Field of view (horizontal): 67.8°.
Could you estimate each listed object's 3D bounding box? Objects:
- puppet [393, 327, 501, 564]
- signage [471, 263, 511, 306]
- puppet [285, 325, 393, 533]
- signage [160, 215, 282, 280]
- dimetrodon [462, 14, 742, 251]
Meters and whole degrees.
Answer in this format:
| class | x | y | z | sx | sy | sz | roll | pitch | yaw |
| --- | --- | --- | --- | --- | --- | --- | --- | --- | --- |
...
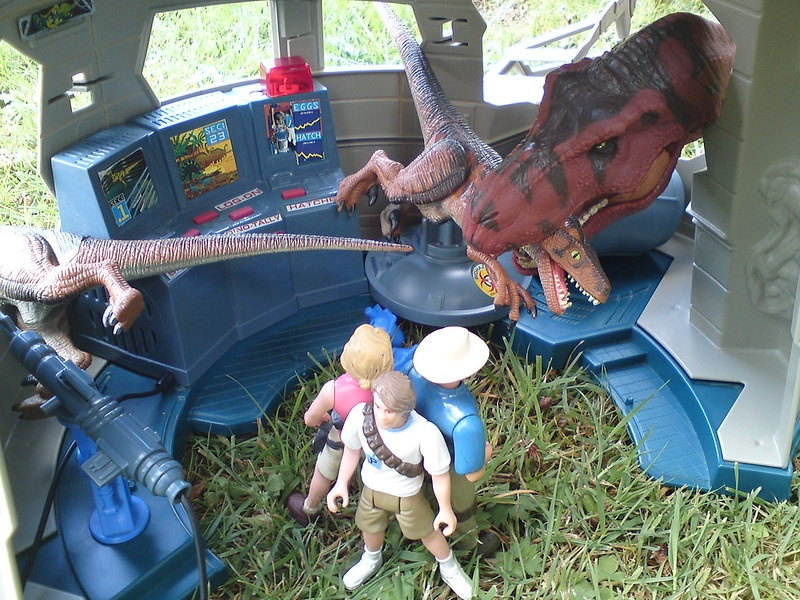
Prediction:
| class | x | y | z | sx | sy | sz | roll | pitch | yaw |
| --- | --- | --- | --- | --- | --- | --- | --- | --- | --- |
| puppet | 0.166 | 0.563 | 2.148 | 0.307 | 0.884 | 0.408 | -28 | 46 | -18 |
| signage | 0.452 | -0.095 | 2.970 | 0.048 | 0.187 | 0.130 | -37 | 7 | -38 |
| puppet | -0.208 | 0.505 | 2.348 | 0.330 | 0.948 | 0.217 | -11 | 40 | -36 |
| signage | -0.839 | -0.253 | 2.728 | 0.355 | 0.086 | 0.047 | -28 | 51 | -24 |
| dimetrodon | 0.799 | -0.648 | 2.429 | 1.147 | 0.772 | 0.277 | -19 | 30 | -12 |
